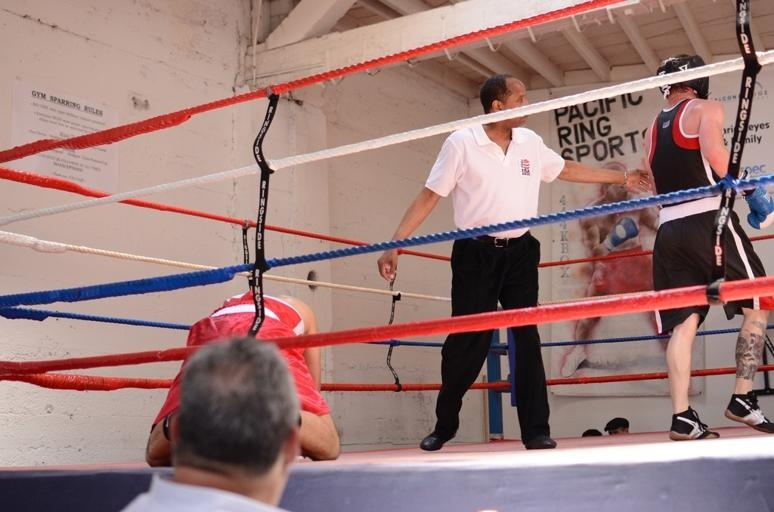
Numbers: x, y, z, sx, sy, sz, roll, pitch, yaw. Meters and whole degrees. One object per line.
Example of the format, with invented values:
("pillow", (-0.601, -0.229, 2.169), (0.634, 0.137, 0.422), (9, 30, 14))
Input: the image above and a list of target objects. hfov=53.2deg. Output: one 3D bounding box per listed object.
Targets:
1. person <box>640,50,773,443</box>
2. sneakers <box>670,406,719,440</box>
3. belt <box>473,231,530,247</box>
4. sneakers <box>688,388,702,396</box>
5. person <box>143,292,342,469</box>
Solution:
("person", (1.387, -0.064, 3.300), (0.495, 1.376, 0.609), (-5, -3, 17))
("sneakers", (1.301, 0.710, 3.245), (0.281, 0.132, 0.102), (2, -8, -24))
("belt", (0.541, -0.073, 3.501), (0.276, 0.047, 0.064), (-2, -3, -17))
("sneakers", (2.788, 1.233, 6.987), (0.126, 0.060, 0.082), (-6, 0, 24))
("person", (-0.477, 0.499, 3.329), (0.856, 0.751, 0.801), (1, -27, 10))
